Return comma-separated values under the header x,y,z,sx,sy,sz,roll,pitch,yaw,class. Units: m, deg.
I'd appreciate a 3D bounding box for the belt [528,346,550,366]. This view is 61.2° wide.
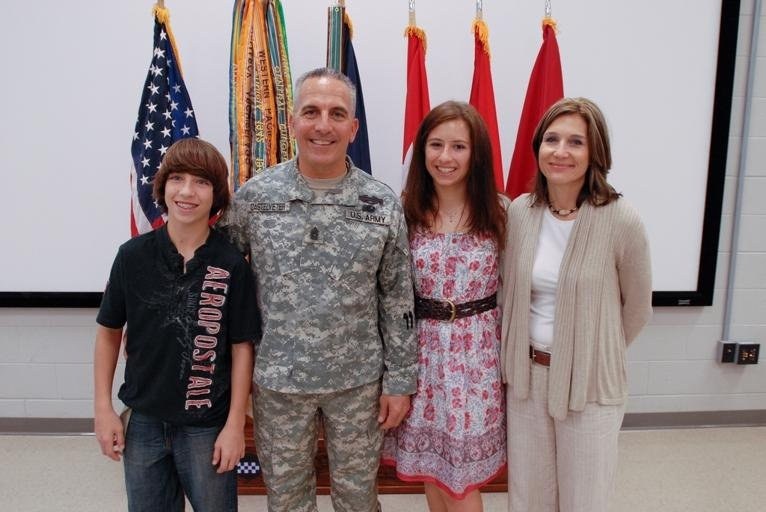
x,y,z,sx,sy,sz,roll,pitch,yaw,class
0.870,0.558,3.577,0.093,0.032,0.102,11,-8,41,belt

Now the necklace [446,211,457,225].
x,y,z,sx,sy,sz,roll,pitch,yaw,class
0.393,-0.211,3.689,0.060,0.063,0.015,0,-19,3,necklace
